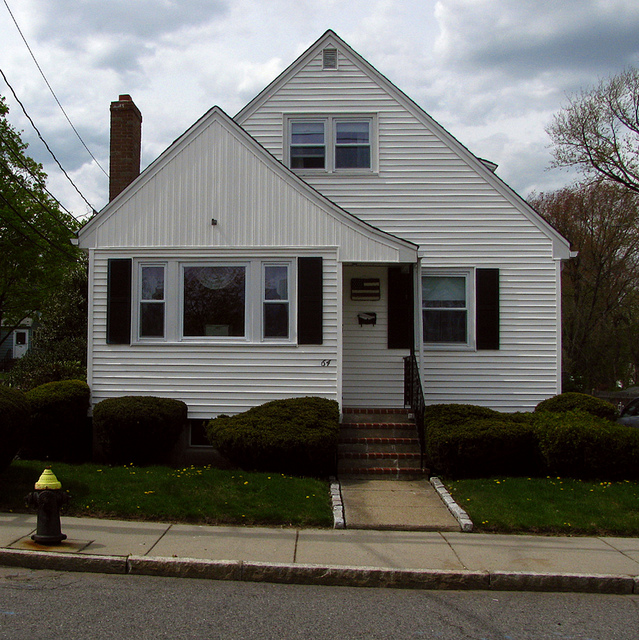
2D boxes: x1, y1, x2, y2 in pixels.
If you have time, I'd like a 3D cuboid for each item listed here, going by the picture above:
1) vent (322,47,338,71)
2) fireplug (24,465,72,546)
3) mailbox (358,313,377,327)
[{"bbox_3d":[0.243,-4.845,15.437,0.380,0.574,0.053,1,0,-1],"label":"vent"},{"bbox_3d":[-3.082,2.096,9.485,0.403,0.813,0.494,-8,14,-42],"label":"fireplug"},{"bbox_3d":[0.895,-0.028,14.883,0.328,0.205,0.104,2,10,1],"label":"mailbox"}]
